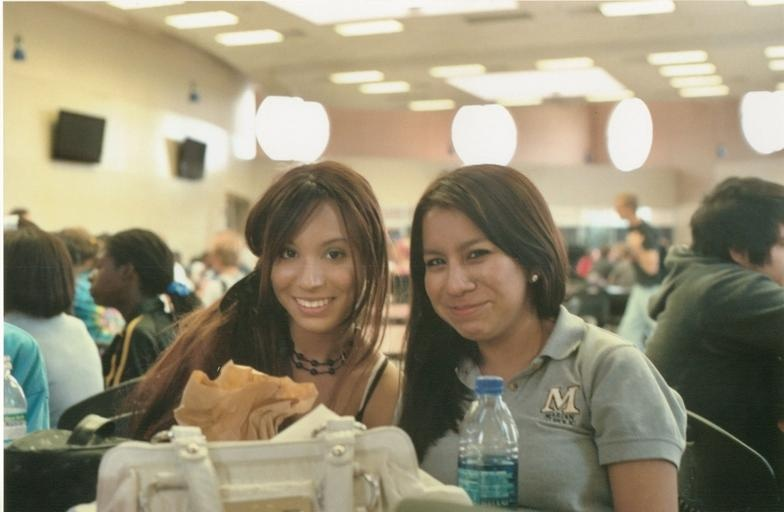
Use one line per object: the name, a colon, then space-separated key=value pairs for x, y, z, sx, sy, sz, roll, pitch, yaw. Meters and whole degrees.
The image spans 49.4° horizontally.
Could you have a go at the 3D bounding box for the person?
person: x=-0.130 y=0.305 z=3.217 sx=2.658 sy=1.331 sz=0.591 roll=0 pitch=0 yaw=12

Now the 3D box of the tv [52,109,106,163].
tv: x=-1.282 y=-0.481 z=3.439 sx=0.213 sy=0.204 sz=0.049 roll=10 pitch=5 yaw=-15

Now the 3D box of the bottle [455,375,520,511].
bottle: x=0.320 y=0.592 z=2.819 sx=0.202 sy=0.410 sz=0.285 roll=0 pitch=0 yaw=5
